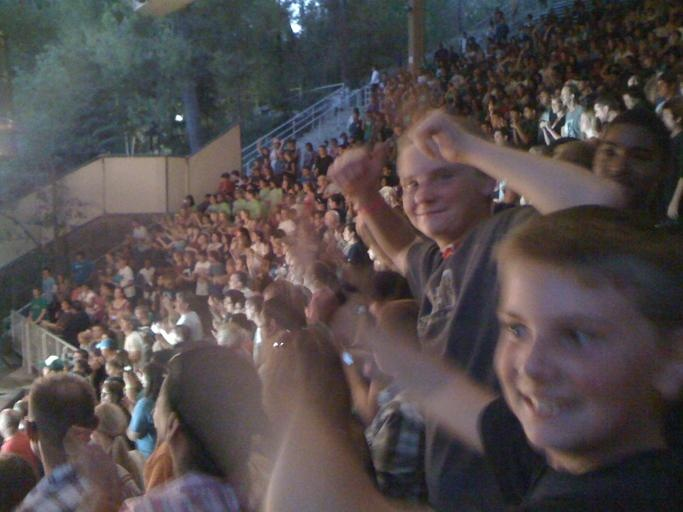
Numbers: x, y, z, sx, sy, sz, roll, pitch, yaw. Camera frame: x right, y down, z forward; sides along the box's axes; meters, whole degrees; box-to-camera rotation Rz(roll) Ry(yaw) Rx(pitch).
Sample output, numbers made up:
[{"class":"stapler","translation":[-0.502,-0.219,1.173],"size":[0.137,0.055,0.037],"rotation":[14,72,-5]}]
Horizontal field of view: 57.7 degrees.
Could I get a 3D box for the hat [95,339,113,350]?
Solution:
[{"class":"hat","translation":[-2.300,0.857,6.012],"size":[0.122,0.053,0.176],"rotation":[-13,14,3]}]
